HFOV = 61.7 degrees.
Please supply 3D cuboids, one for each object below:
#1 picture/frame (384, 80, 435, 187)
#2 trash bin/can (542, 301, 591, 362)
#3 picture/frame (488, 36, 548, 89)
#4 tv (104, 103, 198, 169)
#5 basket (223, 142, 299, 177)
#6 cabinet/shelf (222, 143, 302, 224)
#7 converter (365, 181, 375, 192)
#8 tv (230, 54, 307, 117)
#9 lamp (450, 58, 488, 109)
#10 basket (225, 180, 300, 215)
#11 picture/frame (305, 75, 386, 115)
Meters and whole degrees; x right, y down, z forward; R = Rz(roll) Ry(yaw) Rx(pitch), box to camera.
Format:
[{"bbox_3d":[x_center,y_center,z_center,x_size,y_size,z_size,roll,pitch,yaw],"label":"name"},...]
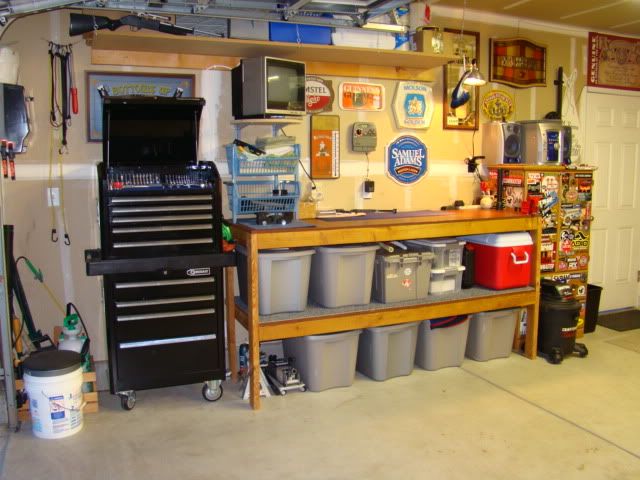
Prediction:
[{"bbox_3d":[0.827,-0.993,4.990,0.507,0.933,0.169,-8,16,-30],"label":"picture/frame"},{"bbox_3d":[2.187,0.802,4.756,0.430,0.520,0.285,-1,14,-5],"label":"trash bin/can"},{"bbox_3d":[1.947,-1.781,5.363,0.579,0.394,0.055,-3,9,-27],"label":"picture/frame"},{"bbox_3d":[-1.202,-0.750,3.829,0.773,0.574,0.417,-1,6,-22],"label":"tv"},{"bbox_3d":[-0.442,-0.666,4.172,0.444,0.201,0.300,-6,15,-26],"label":"basket"},{"bbox_3d":[-0.470,-0.466,4.495,0.414,0.689,0.705,-12,13,-26],"label":"cabinet/shelf"},{"bbox_3d":[0.440,-0.485,4.830,0.099,0.134,0.071,0,3,-19],"label":"converter"},{"bbox_3d":[-0.421,-1.146,4.264,0.491,0.447,0.501,-4,9,-31],"label":"tv"},{"bbox_3d":[1.335,-1.430,4.912,0.266,0.462,0.745,3,15,12],"label":"lamp"},{"bbox_3d":[-0.467,-0.337,4.322,0.476,0.245,0.326,-1,8,-23],"label":"basket"},{"bbox_3d":[0.226,-1.289,4.747,0.755,0.313,0.068,-5,15,-22],"label":"picture/frame"}]
